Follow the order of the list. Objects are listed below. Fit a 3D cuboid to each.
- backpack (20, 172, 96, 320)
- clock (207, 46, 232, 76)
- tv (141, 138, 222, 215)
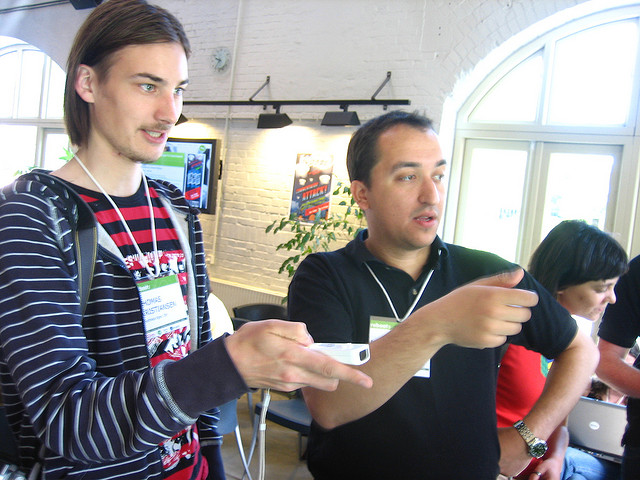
[{"bbox_3d":[-0.613,0.015,1.093,0.165,0.336,0.066,6,5,17],"label":"backpack"},{"bbox_3d":[-1.143,-2.060,5.375,0.443,0.401,0.048,1,3,32],"label":"clock"},{"bbox_3d":[-1.700,-0.765,5.322,0.133,0.802,1.242,9,6,27],"label":"tv"}]
